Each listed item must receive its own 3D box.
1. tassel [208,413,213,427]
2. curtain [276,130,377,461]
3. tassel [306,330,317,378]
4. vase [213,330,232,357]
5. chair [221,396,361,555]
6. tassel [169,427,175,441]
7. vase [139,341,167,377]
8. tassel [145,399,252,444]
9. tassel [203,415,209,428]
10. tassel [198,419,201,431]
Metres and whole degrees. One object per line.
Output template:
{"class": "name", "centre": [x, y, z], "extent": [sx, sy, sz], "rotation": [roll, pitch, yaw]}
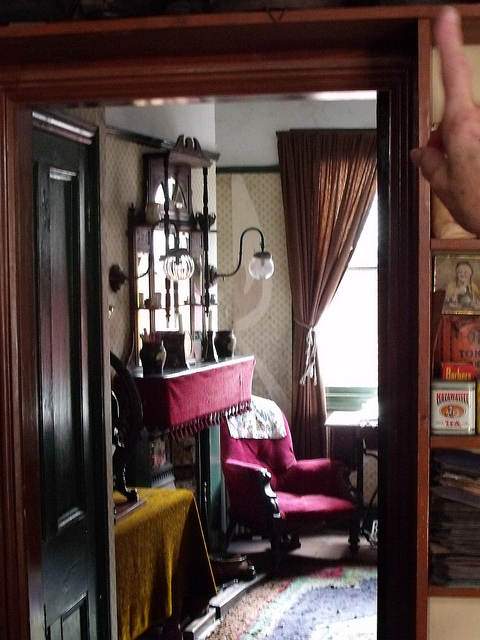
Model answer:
{"class": "tassel", "centre": [-0.146, 0.503, 3.100], "extent": [0.025, 0.110, 0.042], "rotation": [0, 4, 1]}
{"class": "curtain", "centre": [0.583, -0.522, 4.509], "extent": [0.499, 2.940, 0.373], "rotation": [1, 5, 7]}
{"class": "tassel", "centre": [0.524, 0.245, 4.508], "extent": [0.036, 0.322, 0.111], "rotation": [1, 0, 42]}
{"class": "vase", "centre": [-0.101, 0.134, 3.610], "extent": [0.091, 0.182, 0.106], "rotation": [-1, 0, 26]}
{"class": "chair", "centre": [0.295, 1.001, 3.907], "extent": [0.667, 1.375, 0.806], "rotation": [4, -8, -37]}
{"class": "tassel", "centre": [-0.299, 0.501, 2.740], "extent": [0.022, 0.052, 0.115], "rotation": [1, 1, -6]}
{"class": "vase", "centre": [-0.387, 0.173, 2.790], "extent": [0.091, 0.186, 0.112], "rotation": [-1, -2, 8]}
{"class": "tassel", "centre": [-0.174, 0.497, 3.166], "extent": [0.135, 0.146, 1.052], "rotation": [2, 0, 21]}
{"class": "tassel", "centre": [-0.168, 0.501, 3.049], "extent": [0.026, 0.101, 0.042], "rotation": [-1, 5, 11]}
{"class": "tassel", "centre": [-0.193, 0.498, 2.958], "extent": [0.009, 0.063, 0.031], "rotation": [-5, -6, 28]}
